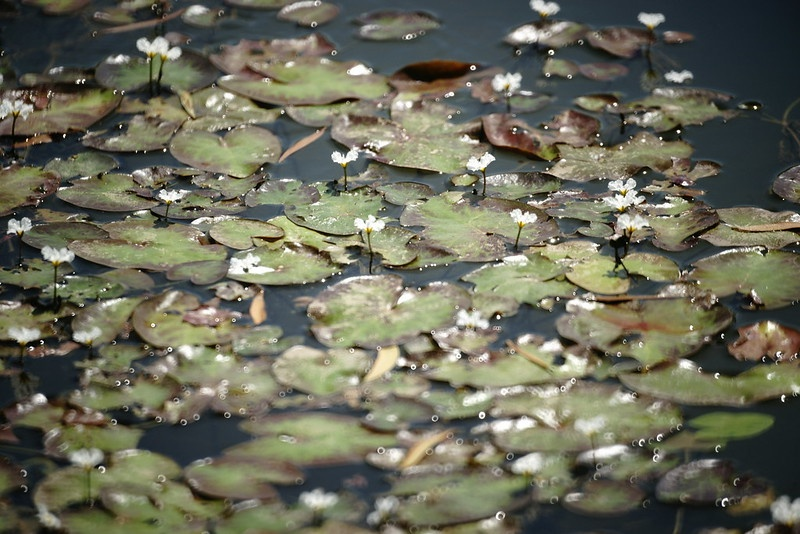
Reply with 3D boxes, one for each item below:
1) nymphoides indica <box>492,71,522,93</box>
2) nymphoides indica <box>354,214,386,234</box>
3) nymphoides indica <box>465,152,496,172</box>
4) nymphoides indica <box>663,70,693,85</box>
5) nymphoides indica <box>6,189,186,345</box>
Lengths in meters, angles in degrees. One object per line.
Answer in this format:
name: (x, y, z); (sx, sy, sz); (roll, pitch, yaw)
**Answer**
nymphoides indica: (0.495, -0.815, 3.963); (0.137, 0.034, 0.097); (5, 56, 13)
nymphoides indica: (-0.109, -0.158, 3.241); (0.099, 0.030, 0.097); (19, 26, 36)
nymphoides indica: (0.350, -0.409, 3.473); (0.127, 0.105, 0.037); (-11, 88, -23)
nymphoides indica: (1.276, -0.852, 4.012); (0.135, 0.025, 0.085); (6, 44, 5)
nymphoides indica: (-0.989, 0.014, 3.194); (0.601, 0.087, 0.642); (-16, 46, -18)
